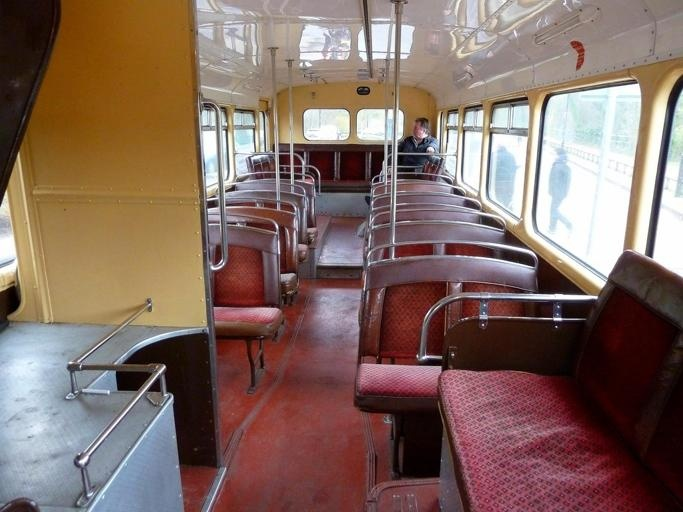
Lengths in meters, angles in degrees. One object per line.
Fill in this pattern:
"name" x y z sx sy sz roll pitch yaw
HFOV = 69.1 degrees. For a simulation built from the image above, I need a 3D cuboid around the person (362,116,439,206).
"person" 1.390 -1.822 9.661 0.867 1.750 0.864 17 15 18
